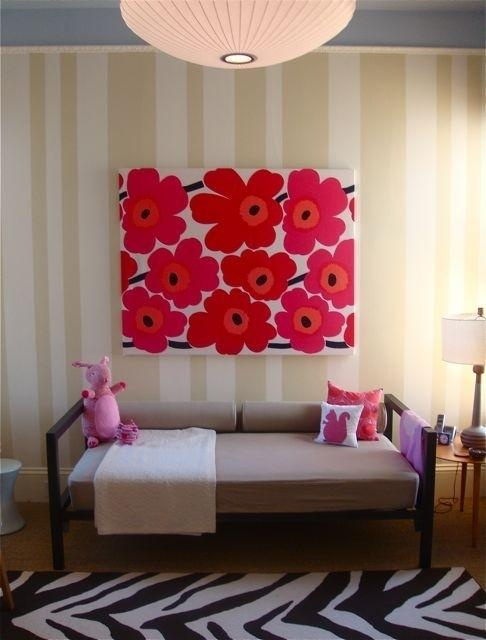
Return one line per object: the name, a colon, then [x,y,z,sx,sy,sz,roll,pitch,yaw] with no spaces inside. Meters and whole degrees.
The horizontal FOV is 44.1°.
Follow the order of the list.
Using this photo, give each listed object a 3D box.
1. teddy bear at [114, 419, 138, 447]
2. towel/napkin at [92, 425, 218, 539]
teddy bear: [-0.607,0.582,3.086,0.116,0.097,0.162,0,-2,-9]
towel/napkin: [-0.417,0.722,2.901,0.442,0.214,0.544,0,6,-3]
